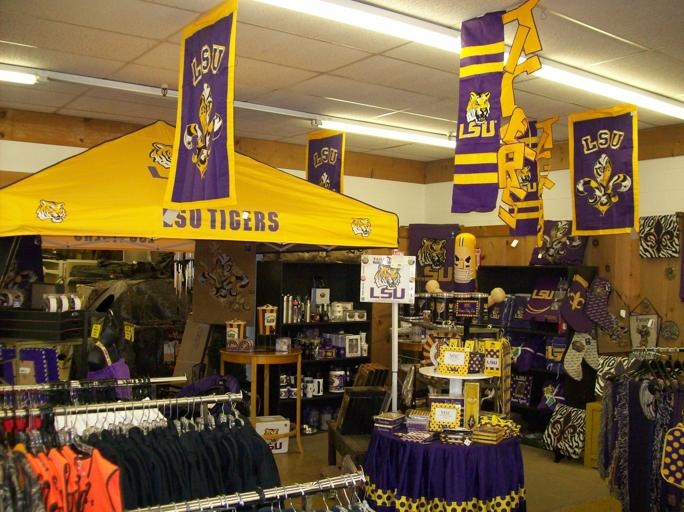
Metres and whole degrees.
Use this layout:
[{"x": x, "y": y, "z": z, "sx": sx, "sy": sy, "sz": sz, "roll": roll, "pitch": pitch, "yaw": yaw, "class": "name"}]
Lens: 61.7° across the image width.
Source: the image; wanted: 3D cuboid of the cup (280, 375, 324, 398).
[{"x": -0.546, "y": 1.706, "z": 7.705, "sx": 0.423, "sy": 0.165, "sz": 0.314, "roll": 2, "pitch": -2, "yaw": -31, "class": "cup"}]

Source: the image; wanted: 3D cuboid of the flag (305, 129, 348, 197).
[{"x": -0.182, "y": -1.237, "z": 7.548, "sx": 0.260, "sy": 0.898, "sz": 0.754, "roll": 3, "pitch": -5, "yaw": -32, "class": "flag"}]

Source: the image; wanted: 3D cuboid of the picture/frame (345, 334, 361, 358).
[{"x": 0.173, "y": 1.279, "z": 8.124, "sx": 0.275, "sy": 0.301, "sz": 0.060, "roll": 3, "pitch": -4, "yaw": -30, "class": "picture/frame"}]

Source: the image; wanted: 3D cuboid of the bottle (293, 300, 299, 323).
[{"x": -0.612, "y": 0.755, "z": 7.869, "sx": 0.054, "sy": 0.308, "sz": 0.110, "roll": -2, "pitch": -4, "yaw": 29, "class": "bottle"}]

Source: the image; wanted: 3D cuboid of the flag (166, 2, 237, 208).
[{"x": -1.001, "y": -1.120, "z": 4.185, "sx": 0.289, "sy": 1.589, "sz": 0.877, "roll": 3, "pitch": -5, "yaw": -38, "class": "flag"}]
